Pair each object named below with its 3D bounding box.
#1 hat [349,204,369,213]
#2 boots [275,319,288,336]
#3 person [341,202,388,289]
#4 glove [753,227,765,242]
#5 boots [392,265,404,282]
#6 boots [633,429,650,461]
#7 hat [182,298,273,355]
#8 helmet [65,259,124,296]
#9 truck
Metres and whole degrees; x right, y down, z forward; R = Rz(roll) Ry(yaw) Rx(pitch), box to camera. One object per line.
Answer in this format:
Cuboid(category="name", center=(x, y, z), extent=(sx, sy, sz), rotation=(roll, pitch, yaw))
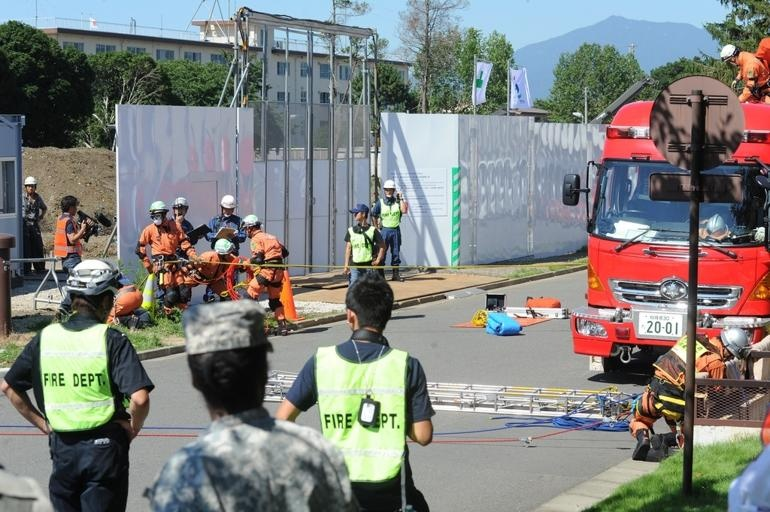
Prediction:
Cuboid(category="hat", center=(-0.538, -0.981, 28.960), extent=(0.427, 0.188, 0.279), rotation=(-1, 4, 1))
Cuboid(category="boots", center=(-2.070, 1.441, 28.192), extent=(0.194, 0.334, 0.328), rotation=(1, -6, -13))
Cuboid(category="person", center=(-0.424, 0.094, 28.936), extent=(0.801, 2.347, 0.674), rotation=(-4, 20, -3))
Cuboid(category="glove", center=(6.398, -0.367, 23.650), extent=(0.168, 0.242, 0.085), rotation=(2, 5, -2))
Cuboid(category="boots", center=(0.371, 0.421, 35.521), extent=(0.400, 0.511, 0.276), rotation=(-4, 7, -36))
Cuboid(category="boots", center=(3.889, 2.823, 20.858), extent=(0.197, 0.514, 0.366), rotation=(4, 47, 4))
Cuboid(category="hat", center=(-1.781, 0.759, 15.253), extent=(0.744, 0.413, 0.572), rotation=(1, 3, 15))
Cuboid(category="helmet", center=(-3.681, 0.325, 17.656), extent=(0.426, 0.538, 0.553), rotation=(-3, -18, 8))
Cuboid(category="truck", center=(5.463, -0.051, 26.019), extent=(2.741, 3.100, 4.891), rotation=(-1, -1, 16))
